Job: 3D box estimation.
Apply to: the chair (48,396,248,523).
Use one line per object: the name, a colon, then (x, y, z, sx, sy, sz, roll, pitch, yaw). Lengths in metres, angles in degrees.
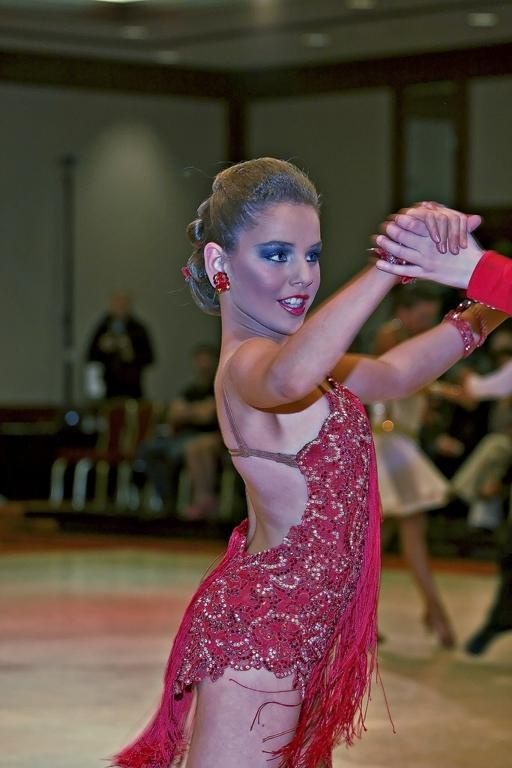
chair: (-0.837, 0.563, 5.447, 1.140, 0.671, 0.370, 2, -13, -13)
